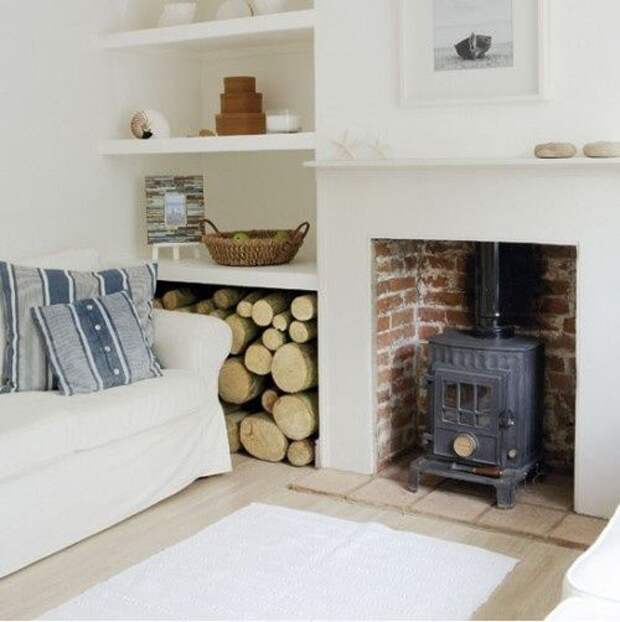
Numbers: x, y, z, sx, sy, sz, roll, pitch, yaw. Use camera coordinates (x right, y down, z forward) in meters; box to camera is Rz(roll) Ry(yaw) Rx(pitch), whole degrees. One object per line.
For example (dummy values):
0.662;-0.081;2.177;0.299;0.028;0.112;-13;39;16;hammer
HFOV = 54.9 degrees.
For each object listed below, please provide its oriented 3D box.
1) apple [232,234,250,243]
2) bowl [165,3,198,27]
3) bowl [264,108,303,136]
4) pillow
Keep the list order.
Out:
-0.341;-0.350;2.937;0.062;0.034;0.067;-1;5;0;apple
-0.667;-1.483;3.026;0.144;0.094;0.133;3;22;-1;bowl
-0.112;-0.874;2.781;0.128;0.067;0.129;1;9;0;bowl
-1.037;0.064;2.427;0.599;0.511;0.170;-2;-15;-36;pillow
